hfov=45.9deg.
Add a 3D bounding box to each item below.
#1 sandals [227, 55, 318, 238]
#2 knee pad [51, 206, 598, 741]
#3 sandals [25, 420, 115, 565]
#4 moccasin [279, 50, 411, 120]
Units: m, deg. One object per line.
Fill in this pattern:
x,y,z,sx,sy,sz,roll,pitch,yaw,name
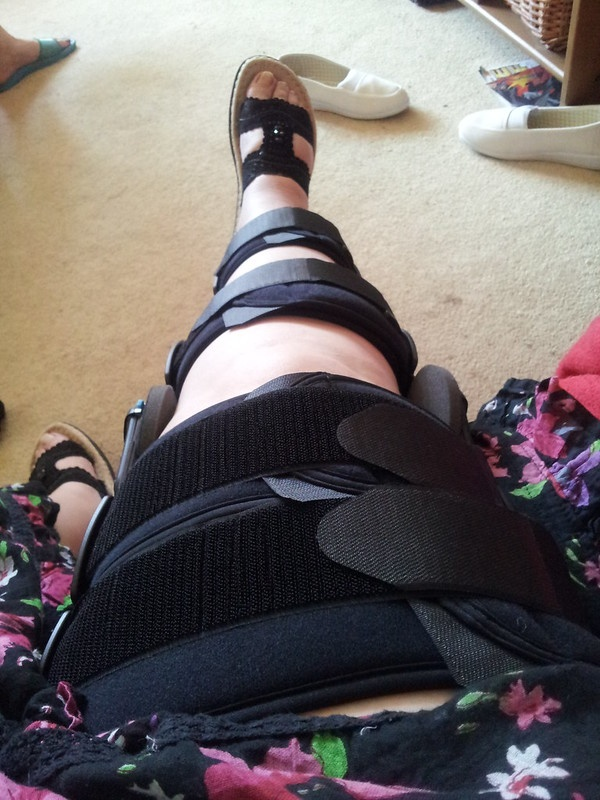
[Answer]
-0.043,-0.388,1.168,0.141,0.330,0.111,2,-8,-1,sandals
-0.034,0.037,0.526,0.252,0.118,0.378,-20,39,-8,knee pad
-0.285,0.104,0.899,0.091,0.082,0.230,-12,45,-8,sandals
0.110,-0.625,1.461,0.339,0.104,0.097,11,-12,8,moccasin
